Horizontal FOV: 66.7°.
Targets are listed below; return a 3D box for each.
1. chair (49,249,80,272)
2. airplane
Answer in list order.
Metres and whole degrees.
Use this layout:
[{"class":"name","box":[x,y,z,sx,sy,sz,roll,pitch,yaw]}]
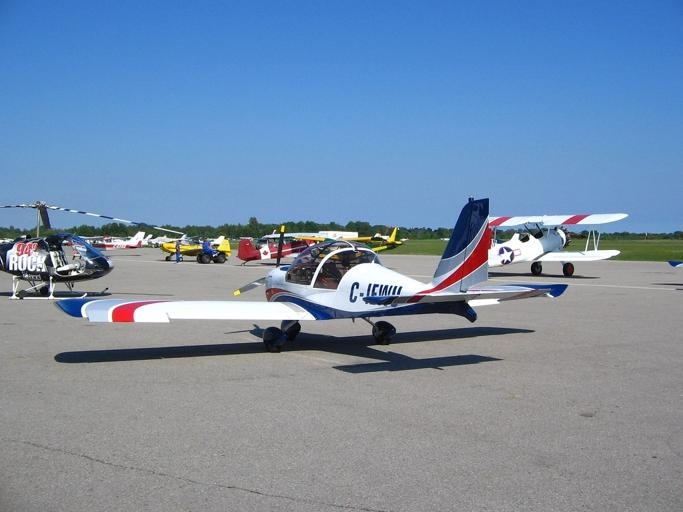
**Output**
[{"class":"chair","box":[-9.159,0.153,17.273,0.861,0.651,0.800,0,3,19]},{"class":"airplane","box":[0.165,0.374,10.035,6.616,2.877,6.386,1,4,21]}]
